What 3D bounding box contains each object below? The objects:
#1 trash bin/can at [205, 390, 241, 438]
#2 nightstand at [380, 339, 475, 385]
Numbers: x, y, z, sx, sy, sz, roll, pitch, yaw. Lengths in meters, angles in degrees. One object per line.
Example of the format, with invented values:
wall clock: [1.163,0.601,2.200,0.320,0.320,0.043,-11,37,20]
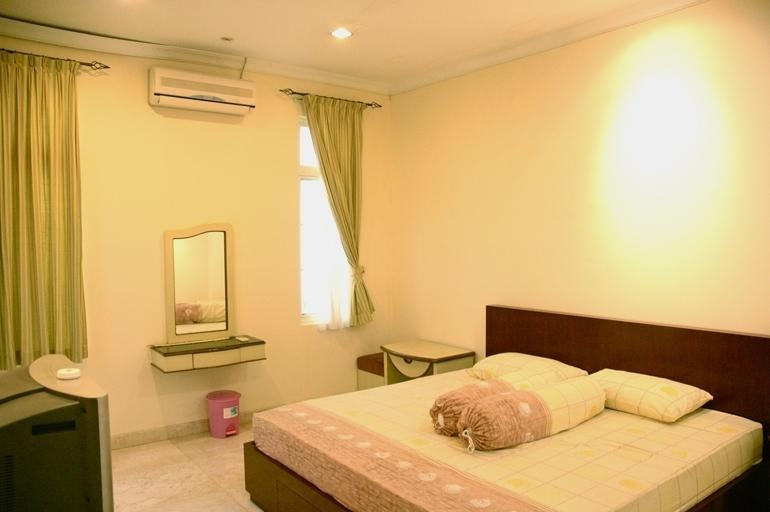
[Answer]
trash bin/can: [-1.479,1.487,5.070,0.385,0.385,0.388,1,1,41]
nightstand: [0.407,1.032,5.301,0.488,0.593,0.665,0,-1,-36]
